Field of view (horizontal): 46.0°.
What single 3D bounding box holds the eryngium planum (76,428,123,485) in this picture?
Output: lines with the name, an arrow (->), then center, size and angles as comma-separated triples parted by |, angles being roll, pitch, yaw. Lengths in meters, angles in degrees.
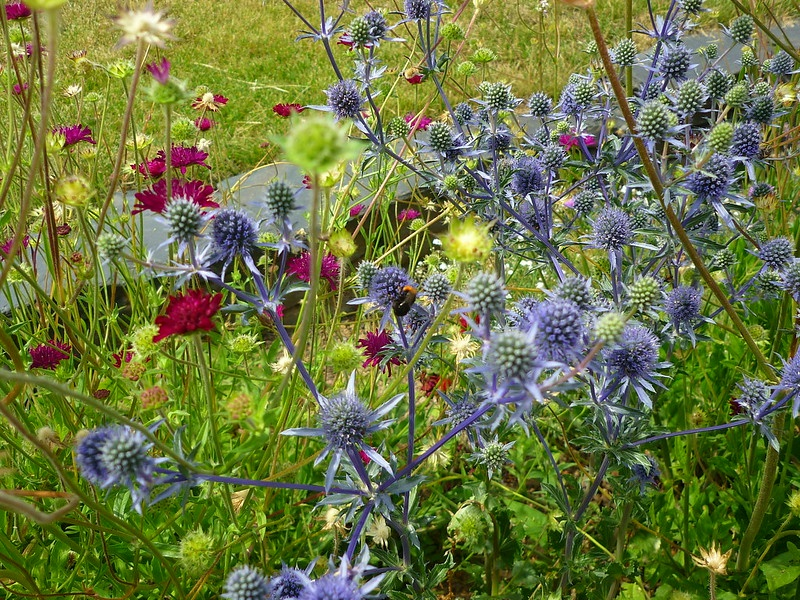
eryngium planum -> -1.332, 0.636, 4.099 | 0.213, 0.173, 0.171 | 2, 9, -34

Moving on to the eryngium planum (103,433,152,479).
eryngium planum -> -1.178, 0.665, 4.038 | 0.193, 0.195, 0.201 | -9, 21, -30
